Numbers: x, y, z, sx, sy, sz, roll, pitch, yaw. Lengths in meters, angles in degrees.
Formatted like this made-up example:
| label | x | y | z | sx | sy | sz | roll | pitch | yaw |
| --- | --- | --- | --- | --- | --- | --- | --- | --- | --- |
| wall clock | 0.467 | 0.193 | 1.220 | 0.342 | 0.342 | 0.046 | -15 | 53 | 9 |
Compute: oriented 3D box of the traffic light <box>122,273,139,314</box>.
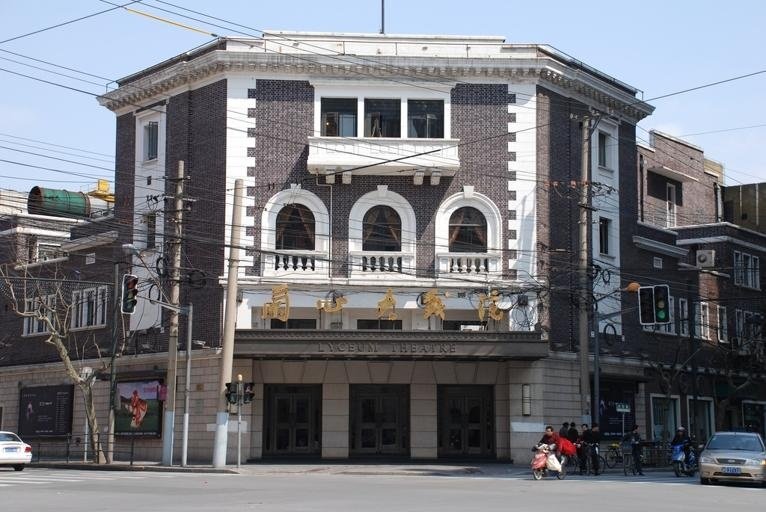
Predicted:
| label | x | y | z | sx | sy | sz | roll | pitch | yaw |
| --- | --- | --- | --- | --- | --- | --- | --- | --- | --- |
| traffic light | -12.589 | 1.868 | 69.227 | 0.726 | 2.038 | 1.378 | 3 | -13 | -12 |

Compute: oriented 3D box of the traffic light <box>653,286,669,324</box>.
| label | x | y | z | sx | sy | sz | roll | pitch | yaw |
| --- | --- | --- | --- | --- | --- | --- | --- | --- | --- |
| traffic light | 13.552 | 2.339 | 68.306 | 0.703 | 1.955 | 0.918 | -2 | -13 | 7 |
